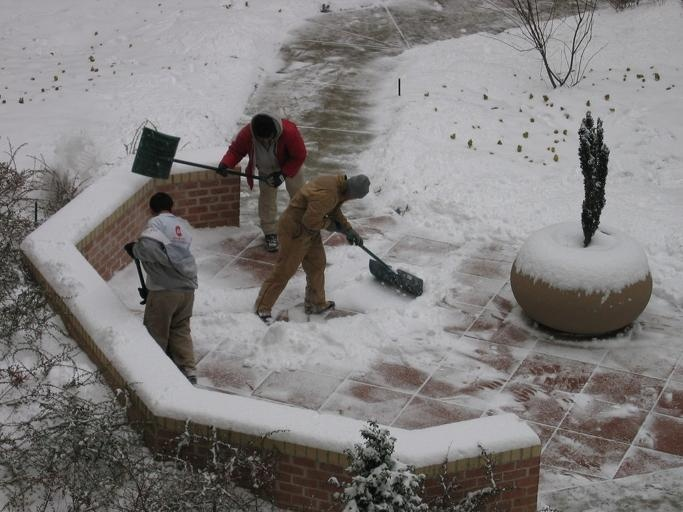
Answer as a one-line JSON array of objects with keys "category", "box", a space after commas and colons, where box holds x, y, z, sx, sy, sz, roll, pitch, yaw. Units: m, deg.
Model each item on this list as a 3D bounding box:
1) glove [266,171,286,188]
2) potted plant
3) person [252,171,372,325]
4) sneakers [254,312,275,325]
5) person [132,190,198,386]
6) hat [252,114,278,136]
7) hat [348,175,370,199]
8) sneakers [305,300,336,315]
[{"category": "glove", "box": [-0.853, -0.992, 12.416, 0.222, 0.168, 0.093, -24, 34, 24]}, {"category": "potted plant", "box": [3.124, -0.374, 12.605, 1.741, 2.912, 1.846, 16, 34, 35]}, {"category": "person", "box": [-0.396, -0.132, 11.564, 1.516, 1.620, 0.531, -17, 32, -22]}, {"category": "sneakers", "box": [-0.924, 0.726, 11.519, 0.104, 0.122, 0.255, -14, 29, -41]}, {"category": "person", "box": [-1.862, 0.407, 10.422, 0.644, 1.564, 0.778, 6, 30, 16]}, {"category": "hat", "box": [-0.968, -1.658, 12.105, 0.234, 0.305, 0.310, -23, 17, -6]}, {"category": "hat", "box": [0.189, -0.785, 11.346, 0.283, 0.303, 0.209, -1, 27, -16]}, {"category": "sneakers", "box": [-0.265, 0.641, 11.831, 0.346, 0.164, 0.138, -13, 25, -17]}]
